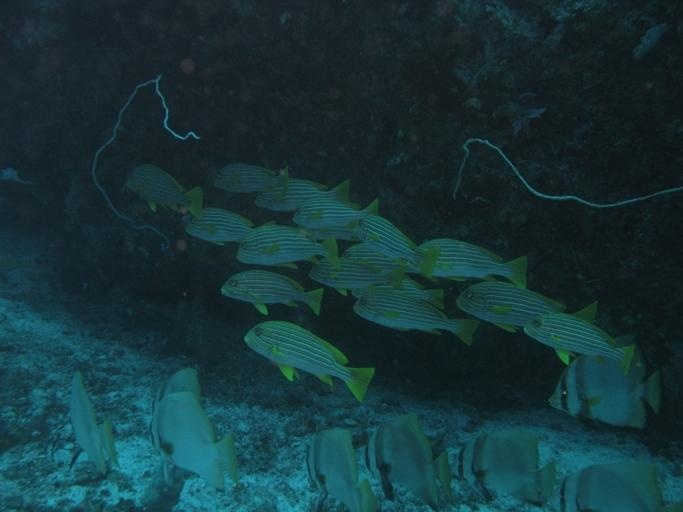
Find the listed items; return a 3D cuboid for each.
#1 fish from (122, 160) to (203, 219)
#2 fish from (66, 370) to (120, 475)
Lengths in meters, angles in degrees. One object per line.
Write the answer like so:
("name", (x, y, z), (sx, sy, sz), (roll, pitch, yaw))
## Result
("fish", (-1.768, -0.686, 6.994), (0.742, 0.395, 0.225), (28, 26, 3))
("fish", (-2.023, 1.344, 5.648), (0.455, 0.940, 0.371), (6, 8, 3))
